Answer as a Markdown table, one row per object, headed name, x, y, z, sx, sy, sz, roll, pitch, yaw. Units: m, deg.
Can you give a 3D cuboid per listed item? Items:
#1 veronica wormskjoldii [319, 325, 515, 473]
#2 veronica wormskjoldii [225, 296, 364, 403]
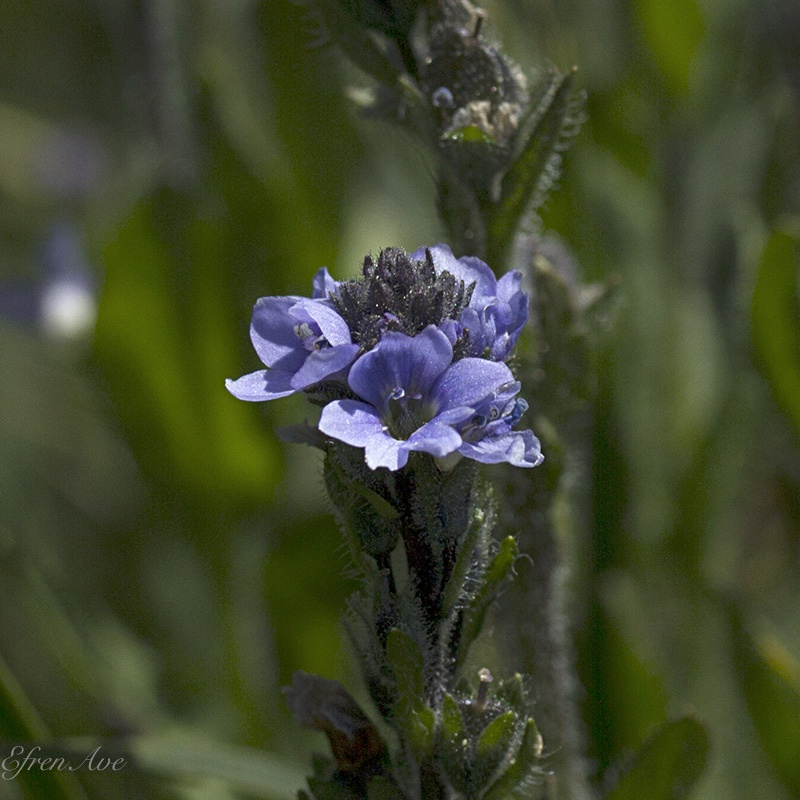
| name | x | y | z | sx | sy | sz | roll | pitch | yaw |
| --- | --- | --- | --- | --- | --- | --- | --- | --- | --- |
| veronica wormskjoldii | 0.013 | -0.004 | 0.906 | 0.133 | 0.091 | 0.066 | -13 | 1 | 5 |
| veronica wormskjoldii | -0.068 | -0.038 | 0.939 | 0.059 | 0.100 | 0.042 | -5 | -11 | 23 |
